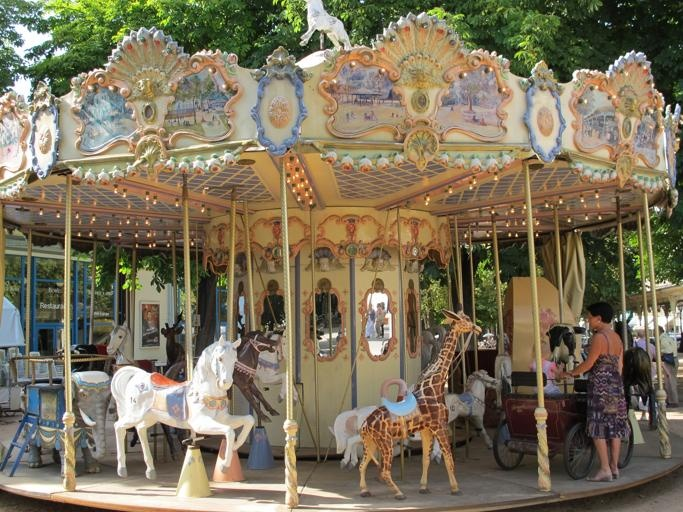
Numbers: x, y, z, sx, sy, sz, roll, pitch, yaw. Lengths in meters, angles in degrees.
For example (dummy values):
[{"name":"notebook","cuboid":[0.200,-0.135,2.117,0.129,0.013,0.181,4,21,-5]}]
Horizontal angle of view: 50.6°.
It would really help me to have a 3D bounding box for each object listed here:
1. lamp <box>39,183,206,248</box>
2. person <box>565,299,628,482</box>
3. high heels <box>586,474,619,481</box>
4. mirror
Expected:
[{"name":"lamp","cuboid":[-4.278,-0.812,13.775,1.360,1.393,2.740,2,1,34]},{"name":"person","cuboid":[3.821,1.966,10.769,0.799,2.637,0.872,2,-2,-43]},{"name":"high heels","cuboid":[3.752,3.199,10.363,0.456,0.088,0.167,0,-9,8]},{"name":"mirror","cuboid":[0.552,1.157,13.310,2.247,1.442,0.711,4,-9,-34]}]
